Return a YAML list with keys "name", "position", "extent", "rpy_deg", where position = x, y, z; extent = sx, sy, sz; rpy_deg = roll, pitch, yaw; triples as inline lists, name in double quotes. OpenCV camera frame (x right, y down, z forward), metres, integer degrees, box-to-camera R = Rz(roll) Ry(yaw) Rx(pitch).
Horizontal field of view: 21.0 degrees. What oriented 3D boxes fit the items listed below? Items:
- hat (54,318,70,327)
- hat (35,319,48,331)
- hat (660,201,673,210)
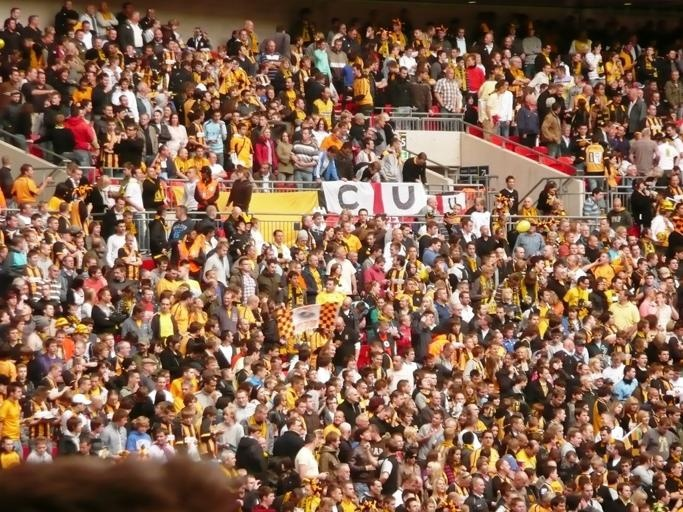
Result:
- name: "hat"
  position: [-4.716, 1.170, 31.058]
  extent: [0.186, 0.155, 0.055]
  rpy_deg: [-8, 100, -18]
- name: "hat"
  position: [-5.053, 1.209, 31.087]
  extent: [0.211, 0.169, 0.137]
  rpy_deg: [-1, 91, 2]
- name: "hat"
  position: [7.005, -1.021, 39.316]
  extent: [0.232, 0.070, 0.233]
  rpy_deg: [20, 34, 41]
